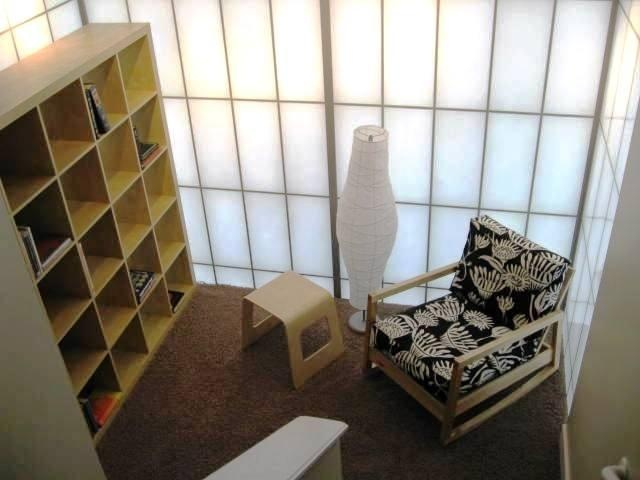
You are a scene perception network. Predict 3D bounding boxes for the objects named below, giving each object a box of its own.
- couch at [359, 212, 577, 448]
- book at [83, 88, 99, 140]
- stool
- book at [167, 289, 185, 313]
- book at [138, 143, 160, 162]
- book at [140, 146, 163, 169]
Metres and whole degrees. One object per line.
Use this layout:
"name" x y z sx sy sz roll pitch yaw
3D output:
"couch" 0.846 0.562 3.534 1.513 1.325 1.129 -26 43 -28
"book" -1.422 -0.789 3.020 0.044 0.298 0.136 -13 29 -21
"stool" -0.188 0.615 3.692 0.677 0.584 0.605 21 36 37
"book" -1.257 0.510 4.212 0.135 0.039 0.154 5 31 8
"book" -1.300 -0.671 3.673 0.134 0.033 0.140 8 45 21
"book" -1.280 -0.624 3.655 0.153 0.038 0.160 10 42 27
